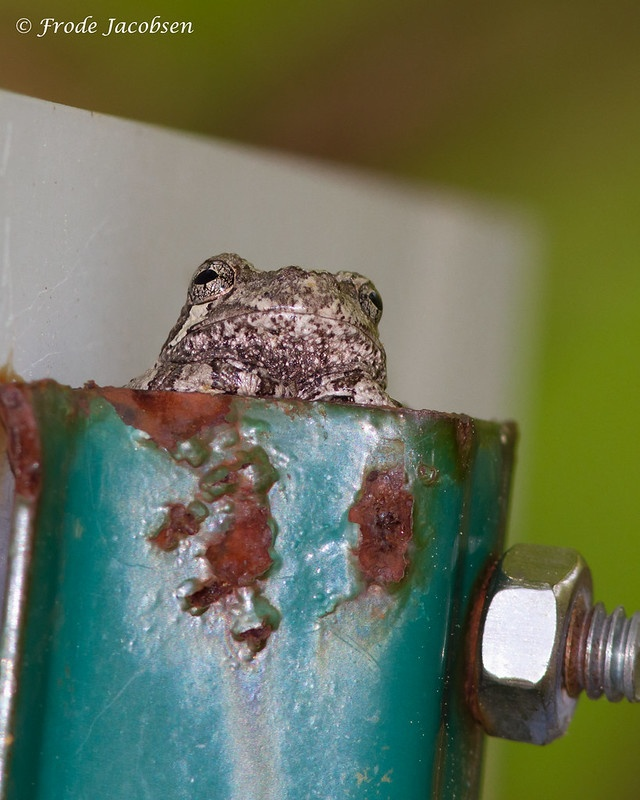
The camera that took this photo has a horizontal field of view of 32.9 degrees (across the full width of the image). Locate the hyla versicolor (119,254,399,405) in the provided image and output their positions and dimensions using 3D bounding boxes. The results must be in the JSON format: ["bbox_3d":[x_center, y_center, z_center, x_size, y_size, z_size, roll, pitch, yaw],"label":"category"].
[{"bbox_3d":[-0.061,-0.085,1.301,0.304,0.159,0.198,6,1,3],"label":"hyla versicolor"}]
